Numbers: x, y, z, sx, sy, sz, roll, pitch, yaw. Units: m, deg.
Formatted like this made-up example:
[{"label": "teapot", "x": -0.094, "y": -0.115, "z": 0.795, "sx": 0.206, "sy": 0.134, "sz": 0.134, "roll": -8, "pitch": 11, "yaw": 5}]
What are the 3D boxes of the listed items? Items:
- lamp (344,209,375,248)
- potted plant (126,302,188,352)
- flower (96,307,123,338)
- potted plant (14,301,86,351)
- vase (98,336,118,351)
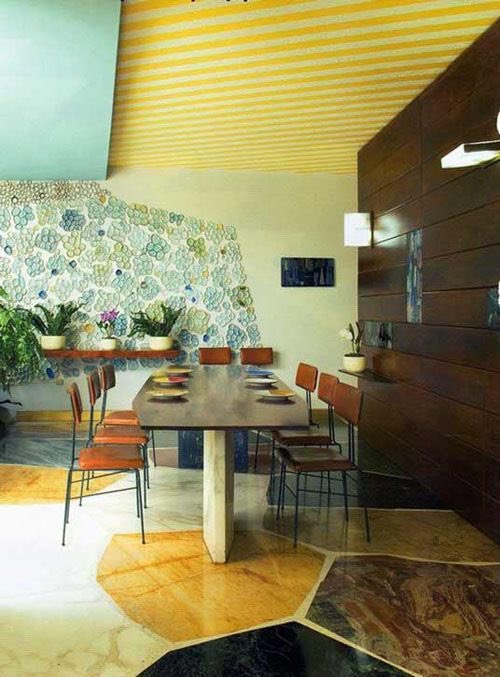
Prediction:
[{"label": "lamp", "x": 1.017, "y": -1.017, "z": 4.917, "sx": 0.254, "sy": 0.322, "sz": 0.313, "roll": 1, "pitch": 2, "yaw": 9}, {"label": "potted plant", "x": -1.072, "y": -0.127, "z": 5.971, "sx": 0.612, "sy": 0.399, "sz": 0.576, "roll": 1, "pitch": -2, "yaw": -15}, {"label": "flower", "x": -1.610, "y": -0.189, "z": 5.985, "sx": 0.284, "sy": 0.327, "sz": 0.121, "roll": 0, "pitch": 2, "yaw": -9}, {"label": "potted plant", "x": -2.234, "y": -0.142, "z": 5.852, "sx": 0.629, "sy": 0.388, "sz": 0.593, "roll": 1, "pitch": -1, "yaw": -13}, {"label": "vase", "x": -1.571, "y": 0.040, "z": 5.843, "sx": 0.178, "sy": 0.113, "sz": 0.161, "roll": 4, "pitch": 7, "yaw": 20}]
